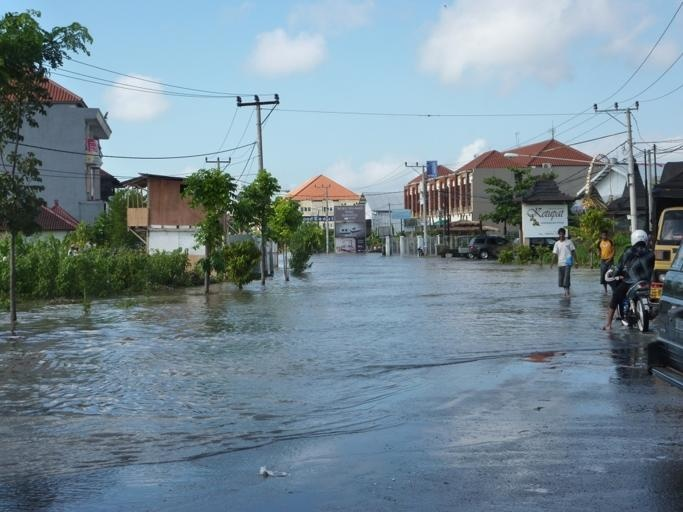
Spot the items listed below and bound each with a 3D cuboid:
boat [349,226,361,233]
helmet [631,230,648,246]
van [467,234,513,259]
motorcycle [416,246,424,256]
[{"bbox_3d":[2.404,-4.420,138.012,1.768,1.072,1.069,3,7,38],"label":"boat"},{"bbox_3d":[5.926,-0.361,16.327,0.312,0.347,0.400,3,11,7],"label":"helmet"},{"bbox_3d":[11.581,-0.603,65.676,2.955,1.719,1.217,0,6,11],"label":"van"},{"bbox_3d":[8.122,-0.356,84.964,0.595,0.819,0.844,0,-9,2],"label":"motorcycle"}]
